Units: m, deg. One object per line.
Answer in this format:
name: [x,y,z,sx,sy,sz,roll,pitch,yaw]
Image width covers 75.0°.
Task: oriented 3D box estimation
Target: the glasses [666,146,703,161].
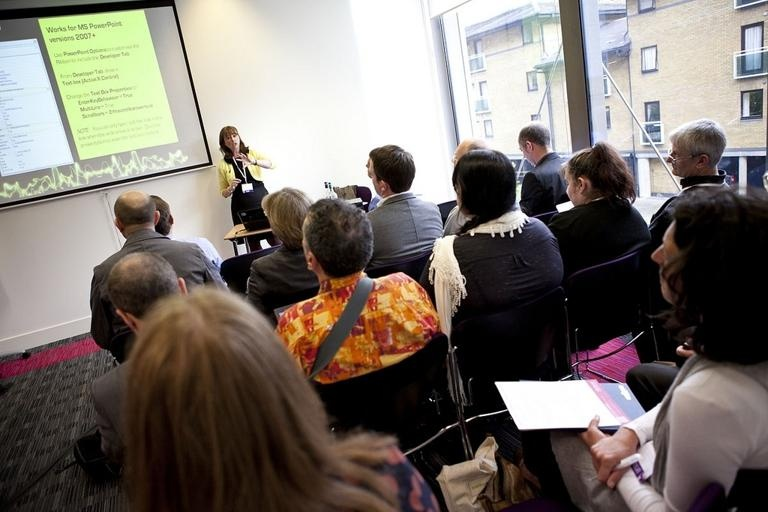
glasses: [1.801,-0.611,3.000,0.157,0.053,0.171,2,3,-4]
